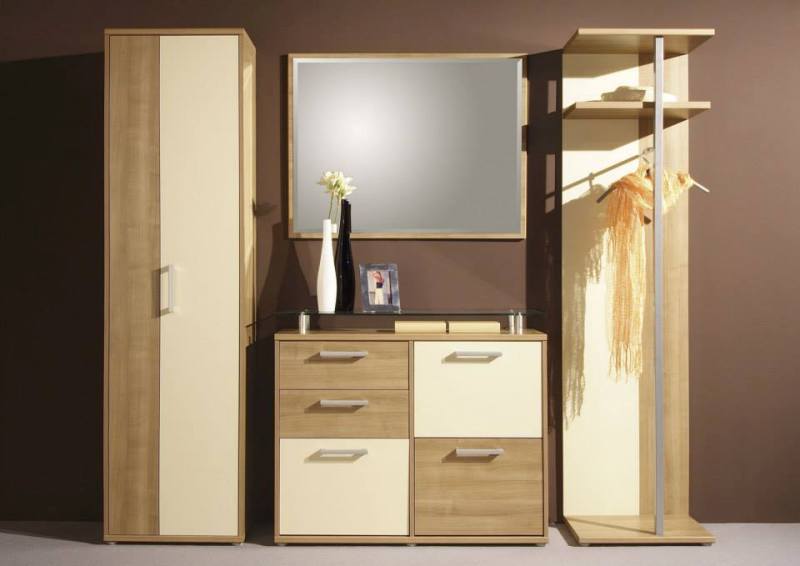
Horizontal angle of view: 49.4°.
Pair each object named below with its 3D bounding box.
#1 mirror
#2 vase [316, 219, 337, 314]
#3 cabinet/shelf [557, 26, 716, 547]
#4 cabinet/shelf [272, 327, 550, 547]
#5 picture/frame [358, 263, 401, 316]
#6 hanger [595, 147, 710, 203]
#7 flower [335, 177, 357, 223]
[{"bbox_3d":[0.061,-0.823,5.008,1.016,0.837,0.045,0,1,0],"label":"mirror"},{"bbox_3d":[-0.399,-0.095,4.833,0.101,0.503,0.127,0,2,6],"label":"vase"},{"bbox_3d":[1.281,0.458,5.170,0.643,2.000,0.540,-12,-12,7],"label":"cabinet/shelf"},{"bbox_3d":[0.077,0.851,4.704,1.048,0.854,0.421,0,-5,1],"label":"cabinet/shelf"},{"bbox_3d":[-0.116,0.042,4.873,0.275,0.359,0.029,0,-13,-4],"label":"picture/frame"},{"bbox_3d":[1.451,-0.611,4.946,0.639,0.312,0.239,1,3,10],"label":"hanger"},{"bbox_3d":[-0.294,-0.508,4.990,0.153,0.215,0.159,2,-3,6],"label":"flower"}]
